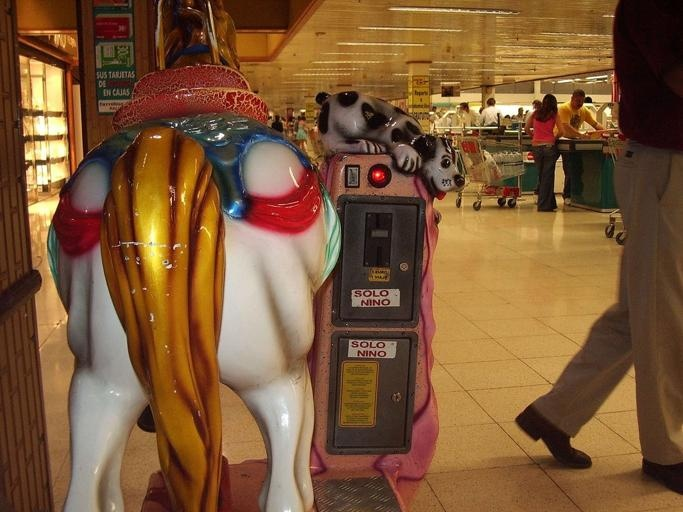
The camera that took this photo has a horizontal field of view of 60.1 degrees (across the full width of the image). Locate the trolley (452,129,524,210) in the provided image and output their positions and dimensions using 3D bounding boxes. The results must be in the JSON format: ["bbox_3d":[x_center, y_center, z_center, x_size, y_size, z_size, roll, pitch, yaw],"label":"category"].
[{"bbox_3d":[2.624,-1.510,10.391,0.928,1.344,0.789,-6,10,-18],"label":"trolley"}]
